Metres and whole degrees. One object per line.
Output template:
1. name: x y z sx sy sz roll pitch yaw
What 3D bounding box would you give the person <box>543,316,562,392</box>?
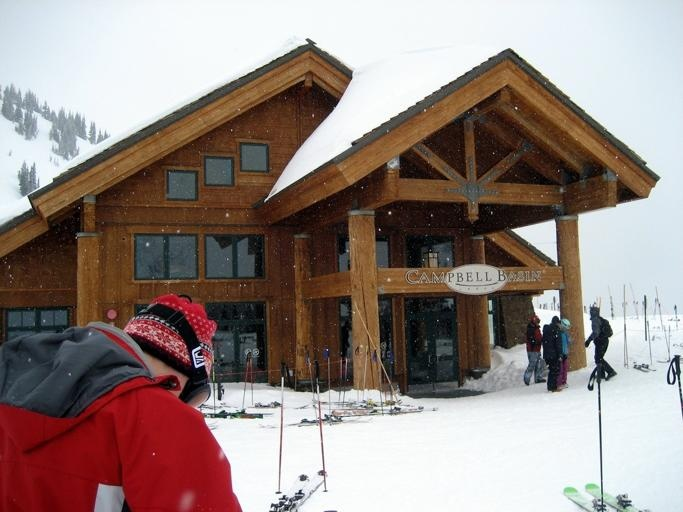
1. person: 5.031 2.289 16.966 0.446 1.530 0.986 -2 -1 16

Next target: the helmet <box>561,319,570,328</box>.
1. helmet: 5.620 1.648 17.854 0.202 0.253 0.171 10 6 39
